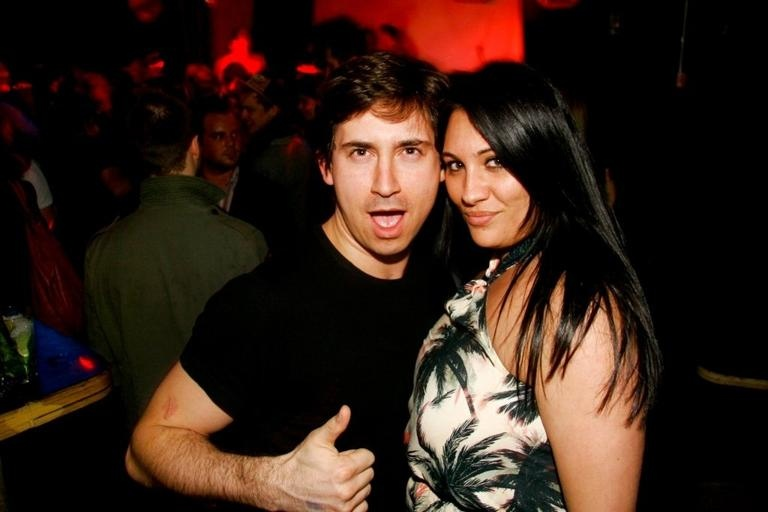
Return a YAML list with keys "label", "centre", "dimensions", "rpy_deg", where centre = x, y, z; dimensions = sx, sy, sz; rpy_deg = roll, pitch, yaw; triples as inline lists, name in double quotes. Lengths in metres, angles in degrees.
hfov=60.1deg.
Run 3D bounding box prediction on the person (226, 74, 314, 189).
- label: "person"
  centre: [-1.132, -1.191, 6.512]
  dimensions: [0.645, 0.899, 1.128]
  rpy_deg: [-6, 22, -19]
